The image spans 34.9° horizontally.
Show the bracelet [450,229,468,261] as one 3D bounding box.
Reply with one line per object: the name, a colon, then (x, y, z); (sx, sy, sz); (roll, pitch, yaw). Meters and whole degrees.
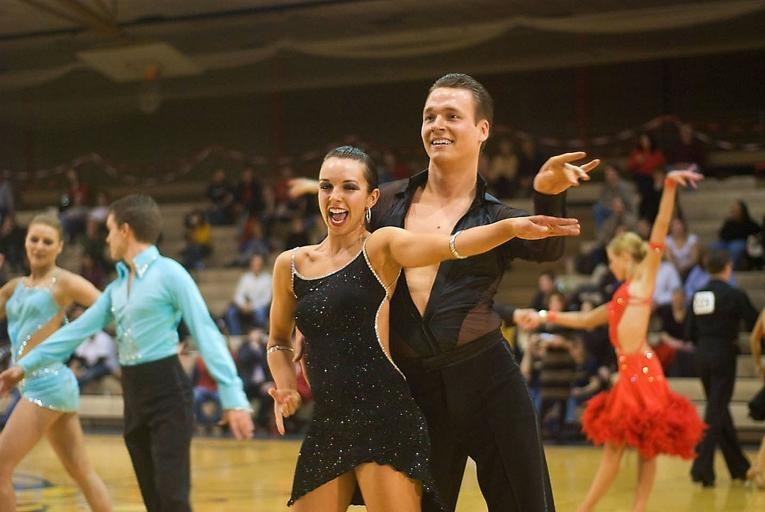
bracelet: (0.549, -0.073, 8.830); (0.071, 0.184, 0.158); (-3, 6, 14)
